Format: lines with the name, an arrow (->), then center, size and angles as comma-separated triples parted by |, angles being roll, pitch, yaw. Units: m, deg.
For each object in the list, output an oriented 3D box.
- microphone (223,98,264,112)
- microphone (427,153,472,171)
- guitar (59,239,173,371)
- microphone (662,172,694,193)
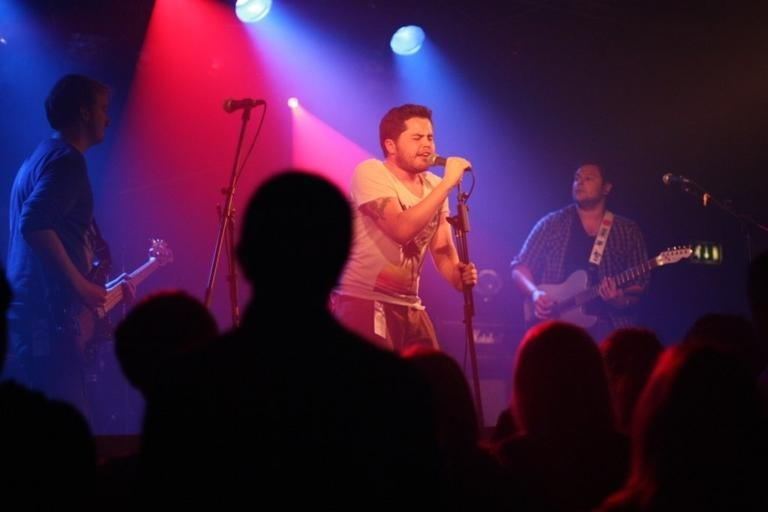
microphone -> -1.158, -1.254, 5.049 | 0.292, 0.121, 0.513 | -1, 12, -14
microphone -> 0.477, -0.722, 4.610 | 0.445, 0.139, 0.128 | 9, 12, 39
guitar -> -2.155, 0.303, 5.003 | 0.357, 0.366, 1.182 | 19, 30, 14
microphone -> 3.204, -0.813, 6.641 | 0.324, 0.210, 0.132 | 23, -14, 24
